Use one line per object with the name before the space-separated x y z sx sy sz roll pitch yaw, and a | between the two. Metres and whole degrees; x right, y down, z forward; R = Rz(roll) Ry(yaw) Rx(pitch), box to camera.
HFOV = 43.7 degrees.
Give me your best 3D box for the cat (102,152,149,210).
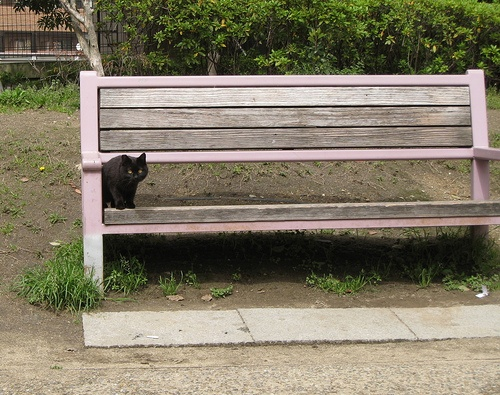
cat | -1.101 -0.127 5.251 0.478 0.488 0.300 7 15 39
